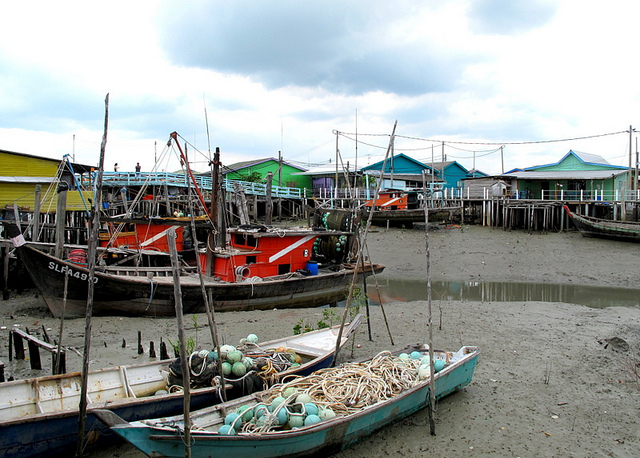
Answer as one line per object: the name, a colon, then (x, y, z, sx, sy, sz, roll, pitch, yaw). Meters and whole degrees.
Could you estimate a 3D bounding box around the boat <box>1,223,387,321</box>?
boat: (-3.511, 1.238, 15.056, 9.939, 2.310, 2.736, 1, 1, -30)

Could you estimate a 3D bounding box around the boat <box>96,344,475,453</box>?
boat: (-0.194, 2.859, 8.845, 6.601, 1.183, 2.080, 0, -4, -39)

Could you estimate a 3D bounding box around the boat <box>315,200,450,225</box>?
boat: (3.642, -0.853, 29.171, 10.151, 1.296, 1.921, 3, 5, 17)
